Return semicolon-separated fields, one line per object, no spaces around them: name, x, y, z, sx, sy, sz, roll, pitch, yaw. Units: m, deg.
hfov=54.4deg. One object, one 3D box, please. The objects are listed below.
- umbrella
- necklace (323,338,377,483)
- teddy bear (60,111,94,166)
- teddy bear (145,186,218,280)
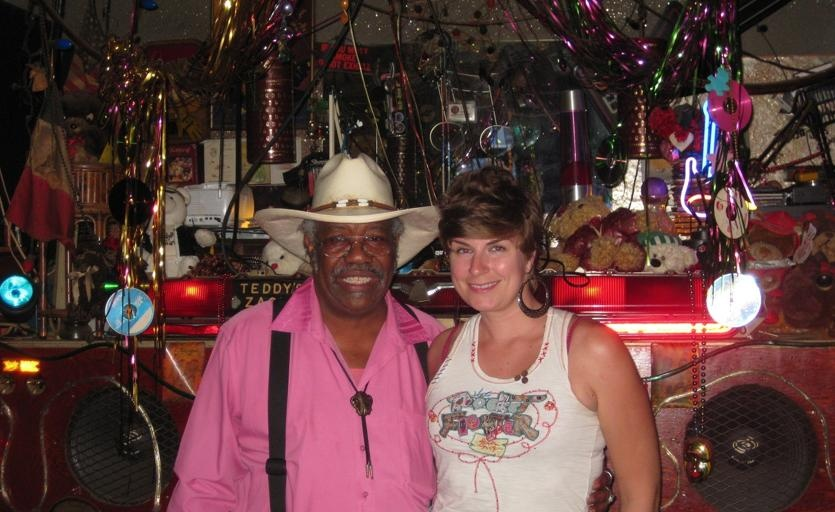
umbrella;-4.272;-0.707;9.229;0.681;2.580;1.198;1;-1;-24
necklace;-0.482;1.223;6.728;0.453;1.341;0.035;6;-40;-25
teddy bear;-4.482;-1.480;10.575;0.462;0.714;0.455;-3;1;-36
teddy bear;-2.869;-0.231;9.785;0.769;1.610;0.827;-1;1;-10
